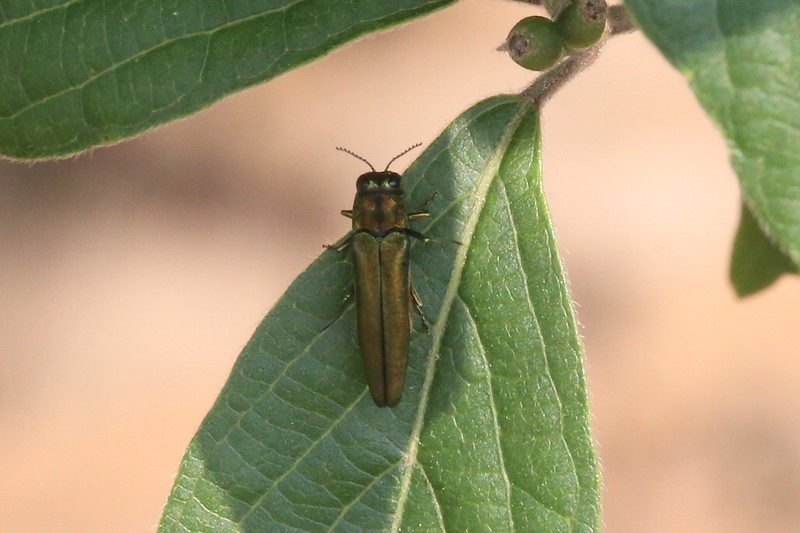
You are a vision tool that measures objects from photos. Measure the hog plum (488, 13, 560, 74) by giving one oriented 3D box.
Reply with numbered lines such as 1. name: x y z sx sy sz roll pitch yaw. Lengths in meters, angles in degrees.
1. hog plum: 0.614 -1.144 4.957 0.103 0.304 0.256 41 -46 29
